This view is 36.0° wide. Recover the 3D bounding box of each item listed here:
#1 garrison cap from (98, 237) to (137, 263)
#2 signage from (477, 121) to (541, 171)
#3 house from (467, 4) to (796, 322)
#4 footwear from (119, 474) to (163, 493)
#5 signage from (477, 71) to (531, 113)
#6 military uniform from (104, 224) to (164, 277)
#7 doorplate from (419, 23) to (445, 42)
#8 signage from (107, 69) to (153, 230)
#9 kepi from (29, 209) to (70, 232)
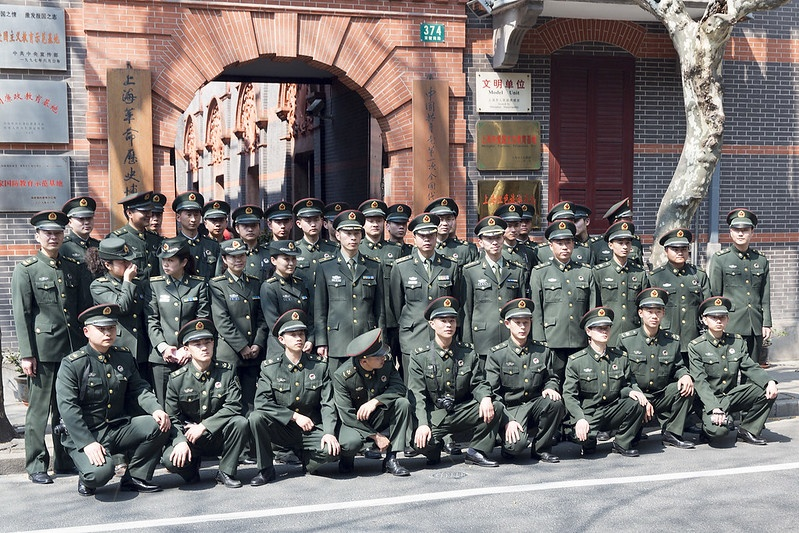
[{"bbox_3d":[-3.380,-0.201,14.668,0.359,0.147,0.263,6,16,13],"label":"garrison cap"},{"bbox_3d":[1.734,-1.910,19.213,1.220,0.791,0.041,4,9,39],"label":"signage"},{"bbox_3d":[3.424,-2.390,21.597,7.744,6.334,4.923,-1,2,-2],"label":"house"},{"bbox_3d":[-2.989,2.515,14.170,0.560,0.206,0.176,3,1,3],"label":"footwear"},{"bbox_3d":[1.626,-2.726,19.160,1.123,0.632,0.102,-5,7,-32],"label":"signage"},{"bbox_3d":[-3.249,-0.170,15.082,0.364,0.618,0.695,-7,-2,42],"label":"military uniform"},{"bbox_3d":[0.493,-3.588,18.717,0.350,0.227,0.064,-1,-2,-9],"label":"doorplate"},{"bbox_3d":[-3.813,-1.791,17.585,0.589,2.166,0.103,4,11,19],"label":"signage"},{"bbox_3d":[-4.184,-0.544,14.700,0.419,0.238,0.276,-2,3,-15],"label":"kepi"}]
